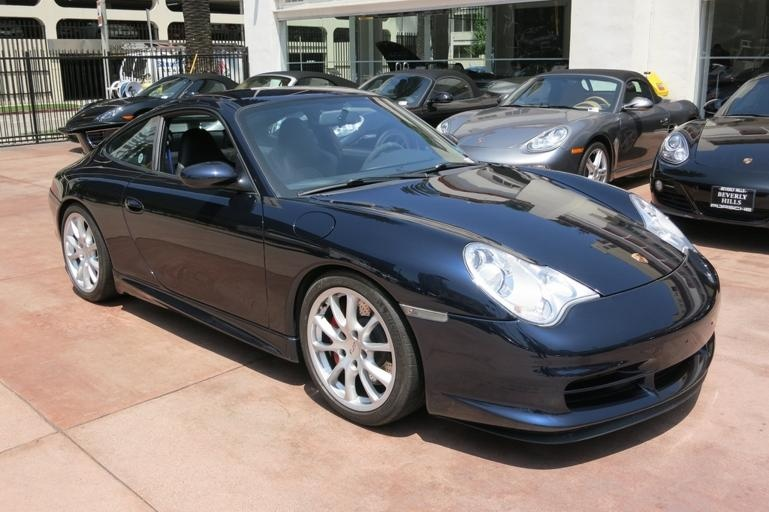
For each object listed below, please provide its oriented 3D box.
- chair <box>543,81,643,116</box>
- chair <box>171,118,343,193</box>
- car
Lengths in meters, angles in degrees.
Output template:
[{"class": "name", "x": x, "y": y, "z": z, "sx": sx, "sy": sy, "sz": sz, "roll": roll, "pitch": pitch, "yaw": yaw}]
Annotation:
[{"class": "chair", "x": 3.391, "y": -2.641, "z": 8.084, "sx": 1.434, "sy": 0.342, "sz": 0.874, "roll": -10, "pitch": 20, "yaw": -39}, {"class": "chair", "x": -0.807, "y": -0.739, "z": 3.456, "sx": 1.076, "sy": 0.438, "sz": 0.280, "roll": 2, "pitch": -16, "yaw": 11}, {"class": "car", "x": -0.709, "y": -0.361, "z": 3.546, "sx": 5.267, "sy": 1.151, "sz": 2.193, "roll": 10, "pitch": 21, "yaw": 28}]
